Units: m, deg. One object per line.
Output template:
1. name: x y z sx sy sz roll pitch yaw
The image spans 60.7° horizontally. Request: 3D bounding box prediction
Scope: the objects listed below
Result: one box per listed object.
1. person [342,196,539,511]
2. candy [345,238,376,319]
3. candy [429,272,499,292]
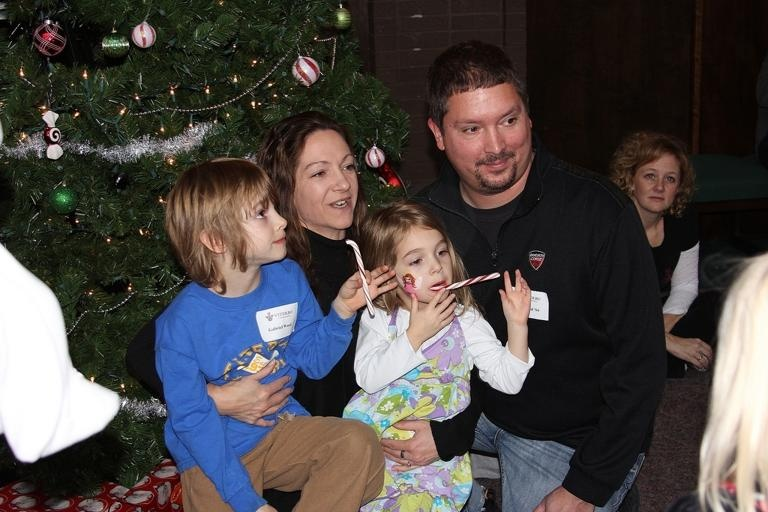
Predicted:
1. person: 0.251 0.458 3.501 0.915 1.471 0.948 1 -2 3
2. candy: -0.109 0.121 3.221 0.069 0.068 0.568 -22 48 -2
3. candy: 0.385 0.131 3.213 0.323 0.026 0.034 -13 5 8
